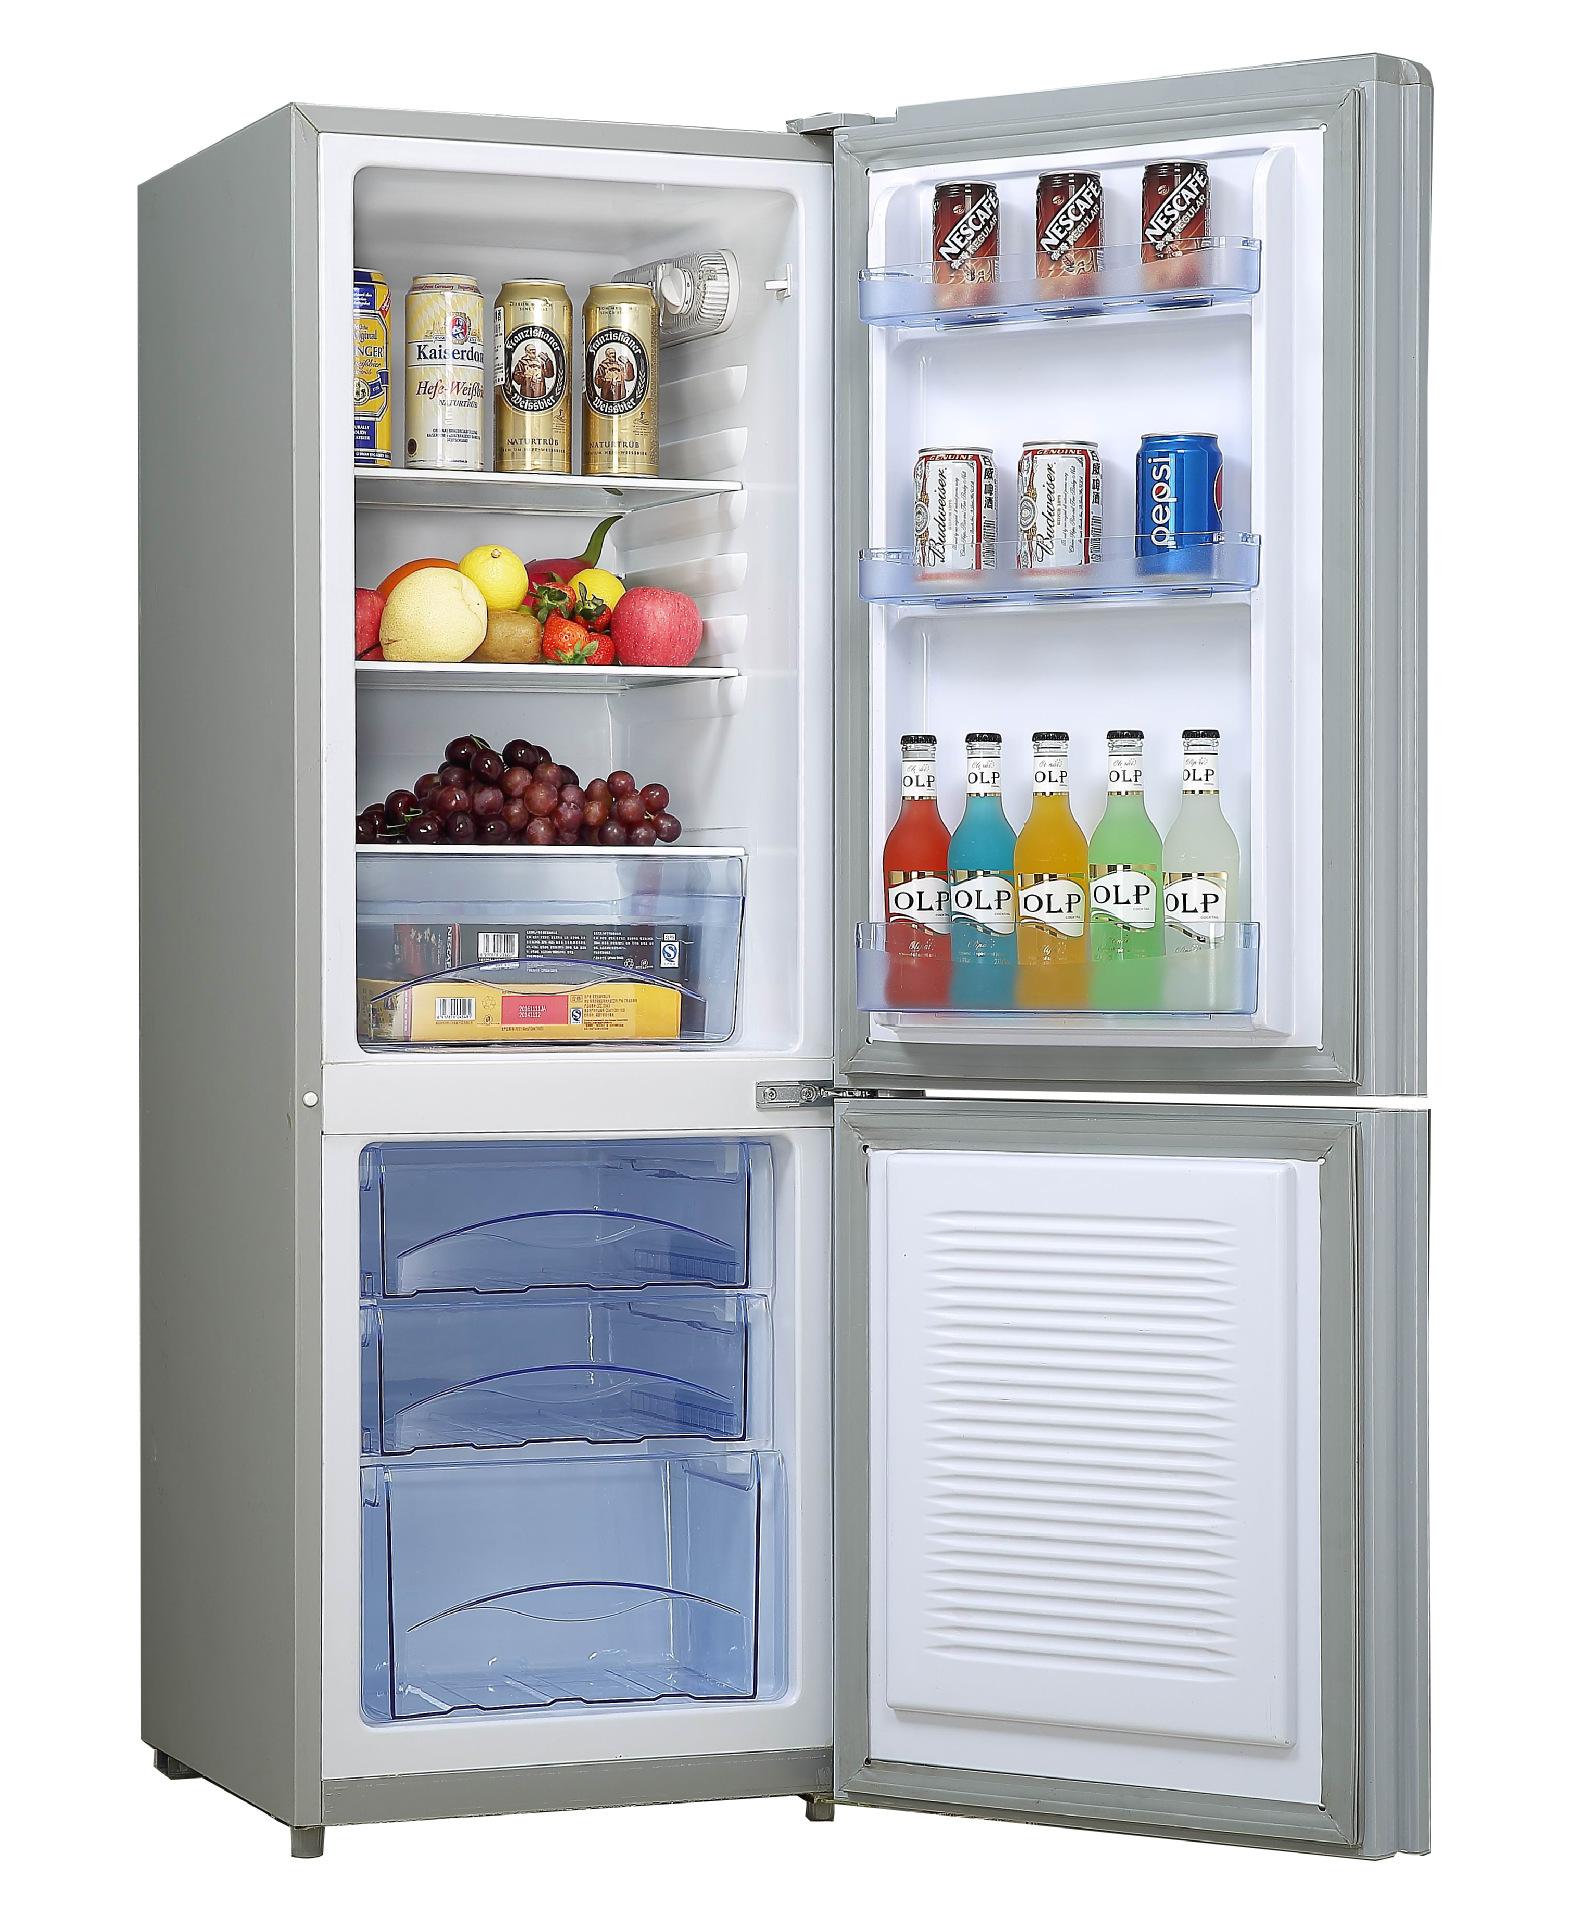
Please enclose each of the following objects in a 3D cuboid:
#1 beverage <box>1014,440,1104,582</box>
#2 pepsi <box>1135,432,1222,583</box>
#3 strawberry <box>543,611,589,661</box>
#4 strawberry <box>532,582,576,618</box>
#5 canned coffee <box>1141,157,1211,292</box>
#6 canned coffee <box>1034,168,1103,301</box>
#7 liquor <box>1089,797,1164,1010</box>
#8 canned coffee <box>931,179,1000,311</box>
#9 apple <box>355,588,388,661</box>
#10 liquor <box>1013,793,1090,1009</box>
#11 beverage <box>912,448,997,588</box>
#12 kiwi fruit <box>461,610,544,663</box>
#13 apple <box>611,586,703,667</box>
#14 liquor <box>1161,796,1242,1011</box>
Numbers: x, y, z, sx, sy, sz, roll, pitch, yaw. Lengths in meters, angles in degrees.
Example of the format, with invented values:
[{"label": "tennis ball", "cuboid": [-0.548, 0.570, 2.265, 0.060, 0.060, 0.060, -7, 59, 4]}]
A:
[{"label": "beverage", "cuboid": [0.271, -0.456, 2.183, 0.078, 0.142, 0.044, -1, 4, -1]}, {"label": "pepsi", "cuboid": [0.389, -0.454, 2.152, 0.083, 0.147, 0.090, 0, 4, 10]}, {"label": "strawberry", "cuboid": [-0.270, -0.385, 2.541, 0.059, 0.046, 0.037, 23, -16, 38]}, {"label": "strawberry", "cuboid": [-0.284, -0.425, 2.534, 0.043, 0.046, 0.046, 16, 19, 34]}, {"label": "canned coffee", "cuboid": [0.390, -0.756, 2.182, 0.053, 0.138, 0.051, 12, 47, 23]}, {"label": "canned coffee", "cuboid": [0.283, -0.739, 2.194, 0.068, 0.144, 0.106, 0, 4, 7]}, {"label": "liquor", "cuboid": [0.342, -0.060, 2.188, 0.071, 0.220, 0.066, 0, 4, 9]}, {"label": "canned coffee", "cuboid": [0.181, -0.742, 2.231, 0.072, 0.140, 0.109, 0, 4, 5]}, {"label": "apple", "cuboid": [-0.484, -0.380, 2.424, 0.032, 0.071, 0.071, 6, -10, 6]}, {"label": "liquor", "cuboid": [0.269, -0.062, 2.219, 0.073, 0.221, 0.080, 0, 4, 6]}, {"label": "beverage", "cuboid": [0.170, -0.462, 2.237, 0.088, 0.142, 0.070, 0, 4, 5]}, {"label": "kiwi fruit", "cuboid": [-0.347, -0.380, 2.518, 0.081, 0.062, 0.060, -3, 10, -5]}, {"label": "apple", "cuboid": [-0.159, -0.387, 2.513, 0.098, 0.098, 0.100, 4, 5, -37]}, {"label": "liquor", "cuboid": [0.414, -0.059, 2.162, 0.074, 0.217, 0.058, 0, 4, 13]}]
